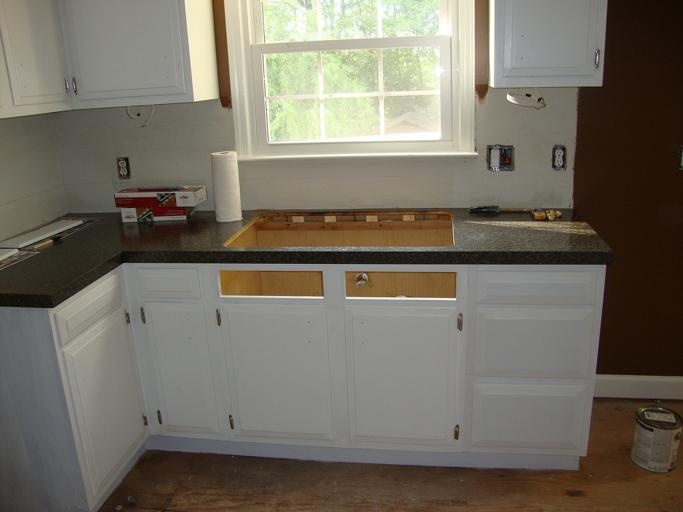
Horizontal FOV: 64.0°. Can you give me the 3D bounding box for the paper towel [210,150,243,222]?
[{"bbox_3d":[-0.617,-0.375,2.916,0.146,0.356,0.222,-6,18,-12],"label":"paper towel"}]
